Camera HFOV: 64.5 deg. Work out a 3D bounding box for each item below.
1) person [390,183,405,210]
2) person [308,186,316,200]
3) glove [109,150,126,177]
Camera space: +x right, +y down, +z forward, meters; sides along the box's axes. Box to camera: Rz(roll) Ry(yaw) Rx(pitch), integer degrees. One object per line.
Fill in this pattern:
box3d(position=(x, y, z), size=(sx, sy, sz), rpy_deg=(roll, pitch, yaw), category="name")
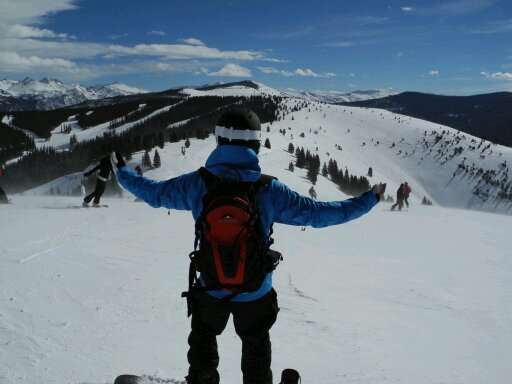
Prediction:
box3d(position=(7.660, 0.348, 21.812), size=(0.577, 1.574, 2.262), rpy_deg=(9, 13, 19), category="person")
box3d(position=(3.281, 0.034, 23.662), size=(0.355, 0.882, 0.387), rpy_deg=(-1, -17, 9), category="person")
box3d(position=(-2.248, -0.482, 6.631), size=(0.181, 0.220, 0.527), rpy_deg=(-3, 61, -14), category="glove")
